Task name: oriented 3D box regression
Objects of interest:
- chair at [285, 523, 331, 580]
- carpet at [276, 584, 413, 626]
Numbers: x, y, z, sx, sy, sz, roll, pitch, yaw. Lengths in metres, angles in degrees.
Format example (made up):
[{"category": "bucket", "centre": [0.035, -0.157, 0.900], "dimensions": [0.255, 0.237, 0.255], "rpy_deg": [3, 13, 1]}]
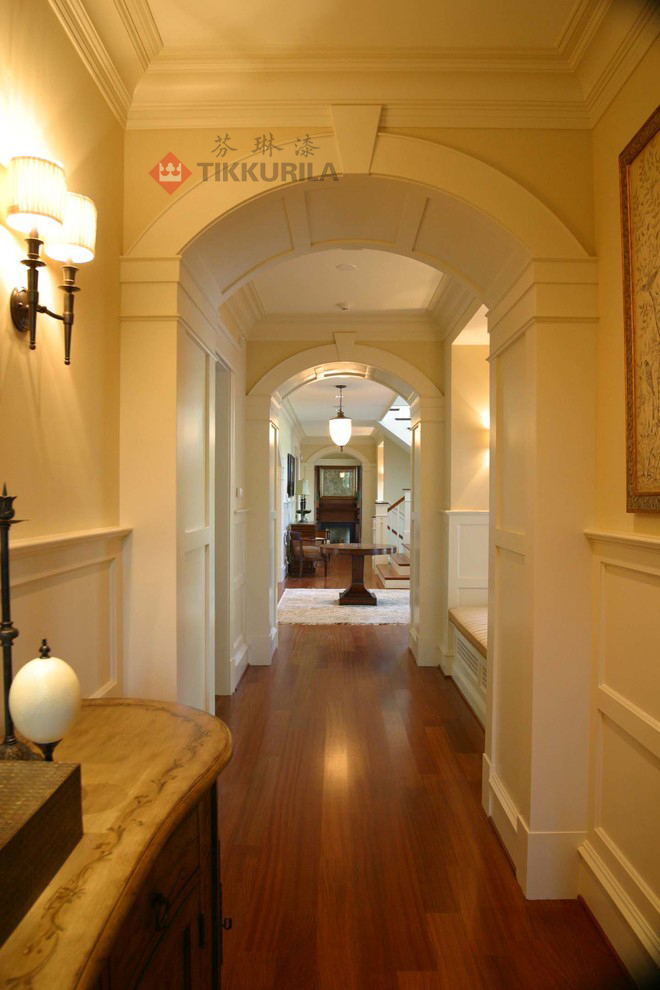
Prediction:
[{"category": "chair", "centre": [-0.382, 0.931, 10.499], "dimensions": [0.658, 1.256, 0.716], "rpy_deg": [-2, 3, -6]}, {"category": "carpet", "centre": [0.143, 1.310, 7.690], "dimensions": [1.553, 0.035, 2.262], "rpy_deg": [1, 0, 0]}]
